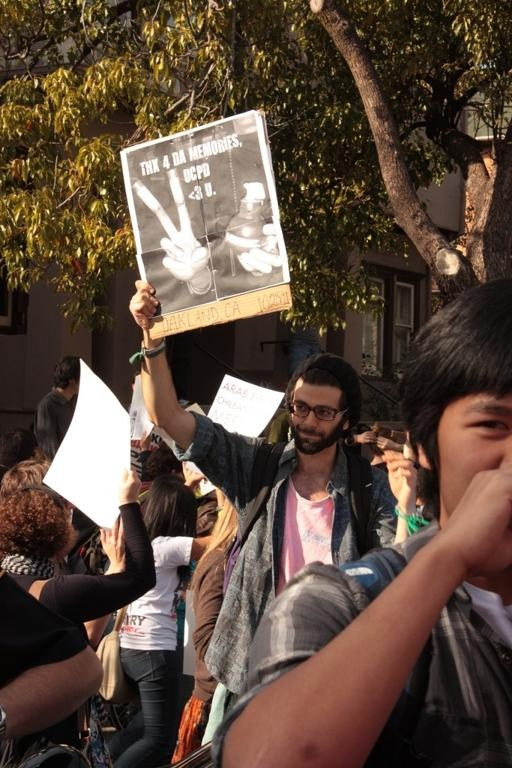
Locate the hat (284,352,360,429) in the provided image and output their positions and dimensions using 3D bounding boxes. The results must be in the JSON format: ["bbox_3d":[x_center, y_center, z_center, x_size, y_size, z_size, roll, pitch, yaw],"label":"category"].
[{"bbox_3d":[0.326,0.032,3.181,0.327,0.359,0.372,3,-2,19],"label":"hat"}]

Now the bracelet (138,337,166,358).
[{"bbox_3d":[-0.457,-0.154,2.834,0.101,0.086,0.142,-2,-1,-8],"label":"bracelet"}]
